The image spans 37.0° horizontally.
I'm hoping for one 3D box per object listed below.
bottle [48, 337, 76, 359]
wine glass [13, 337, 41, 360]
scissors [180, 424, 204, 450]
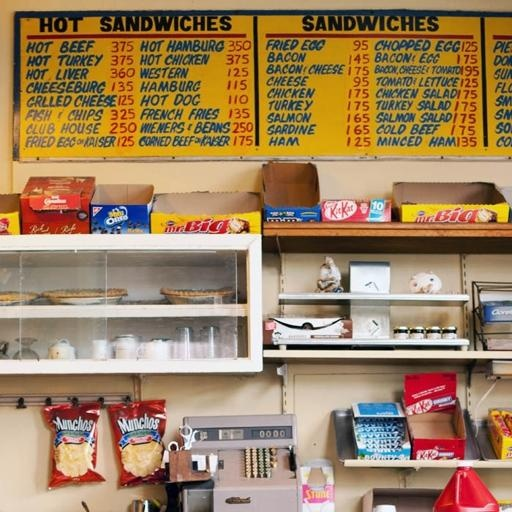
[{"bbox_3d":[-0.862,0.385,3.186,0.091,0.071,0.084,1,-8,0],"label":"bottle"},{"bbox_3d":[-1.013,0.385,3.235,0.112,0.090,0.098,1,-2,9],"label":"wine glass"},{"bbox_3d":[-0.313,0.773,3.268,0.094,0.103,0.030,-4,-11,-28],"label":"scissors"}]
